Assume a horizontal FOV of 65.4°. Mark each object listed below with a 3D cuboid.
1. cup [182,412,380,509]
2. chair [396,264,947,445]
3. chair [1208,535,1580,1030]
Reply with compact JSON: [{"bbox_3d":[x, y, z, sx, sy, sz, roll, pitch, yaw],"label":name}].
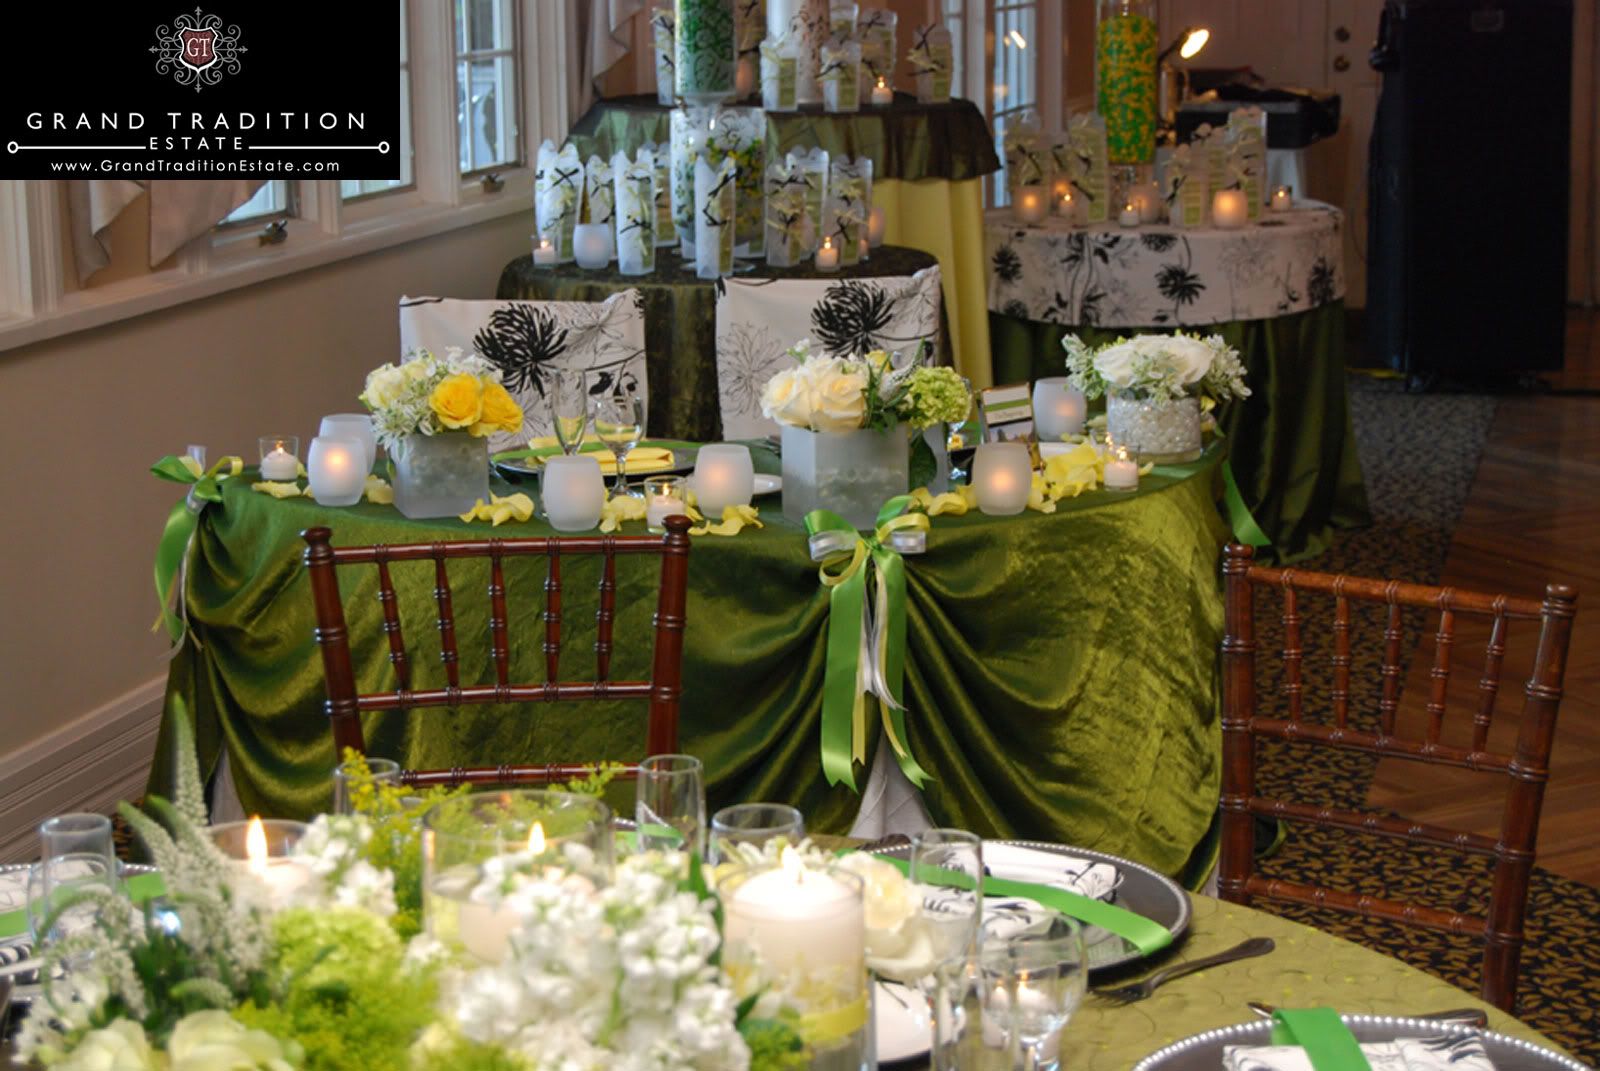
[{"bbox_3d":[-1.085,-0.177,2.765,0.302,0.148,0.176,11,14,26],"label":"cup"},{"bbox_3d":[-0.352,-0.569,3.948,1.562,0.572,0.978,-5,15,-3],"label":"chair"},{"bbox_3d":[1.264,0.531,2.632,0.612,1.120,0.634,10,34,25],"label":"chair"}]
